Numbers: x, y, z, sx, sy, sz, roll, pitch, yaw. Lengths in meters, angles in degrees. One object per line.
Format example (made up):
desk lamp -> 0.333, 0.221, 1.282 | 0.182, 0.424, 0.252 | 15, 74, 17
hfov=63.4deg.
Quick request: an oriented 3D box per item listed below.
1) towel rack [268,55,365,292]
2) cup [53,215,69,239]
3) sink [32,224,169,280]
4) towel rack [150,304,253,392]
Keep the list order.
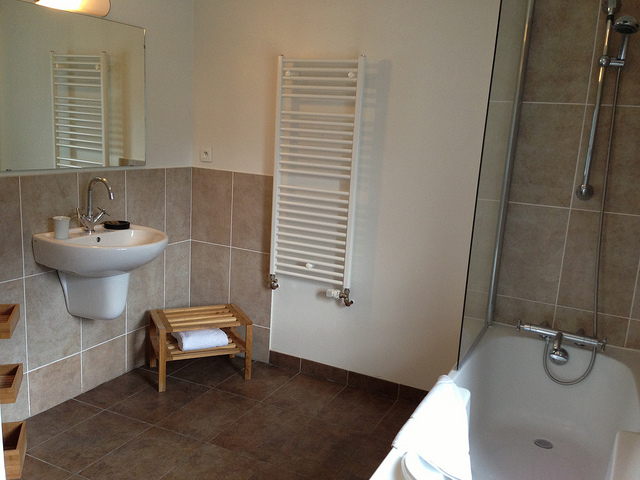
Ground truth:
towel rack -> -0.041, -0.432, 3.466 | 0.658, 1.553, 0.117 | 11, 15, 27
cup -> -1.480, -0.070, 3.002 | 0.075, 0.114, 0.120 | 2, 7, 1
sink -> -1.320, 0.069, 3.164 | 0.682, 0.266, 0.740 | 13, 13, 39
towel rack -> -0.838, 0.727, 3.633 | 0.665, 0.431, 0.429 | -4, 16, -20
